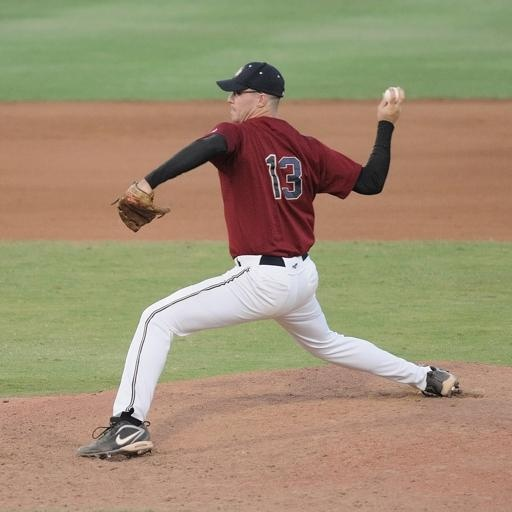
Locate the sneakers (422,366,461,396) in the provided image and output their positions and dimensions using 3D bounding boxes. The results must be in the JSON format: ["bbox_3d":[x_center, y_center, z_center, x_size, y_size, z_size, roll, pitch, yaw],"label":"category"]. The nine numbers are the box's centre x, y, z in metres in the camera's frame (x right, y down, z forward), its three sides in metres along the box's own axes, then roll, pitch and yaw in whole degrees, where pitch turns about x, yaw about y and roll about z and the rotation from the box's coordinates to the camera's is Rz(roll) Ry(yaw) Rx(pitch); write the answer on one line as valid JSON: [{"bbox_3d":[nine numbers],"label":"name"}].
[{"bbox_3d":[1.099,0.758,5.967,0.226,0.080,0.196,31,24,34],"label":"sneakers"}]

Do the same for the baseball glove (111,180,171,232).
[{"bbox_3d":[-0.583,-0.255,5.330,0.268,0.273,0.187,-2,15,1],"label":"baseball glove"}]

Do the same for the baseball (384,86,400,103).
[{"bbox_3d":[0.770,-0.920,5.727,0.120,0.078,0.035,-2,2,-11],"label":"baseball"}]

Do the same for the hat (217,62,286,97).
[{"bbox_3d":[-0.021,-0.965,5.467,0.373,0.131,0.190,1,9,-2],"label":"hat"}]
